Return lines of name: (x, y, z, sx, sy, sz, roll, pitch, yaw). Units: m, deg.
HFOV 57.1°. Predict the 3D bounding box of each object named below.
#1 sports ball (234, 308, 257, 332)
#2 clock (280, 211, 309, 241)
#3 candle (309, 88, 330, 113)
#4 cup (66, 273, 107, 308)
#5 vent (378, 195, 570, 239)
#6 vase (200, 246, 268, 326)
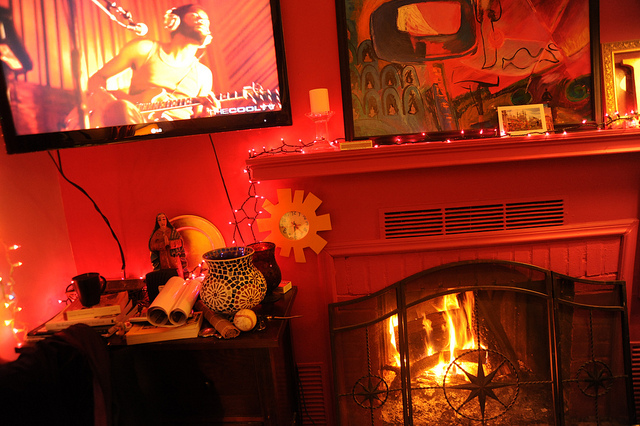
sports ball: (-0.333, 0.476, 2.617, 0.095, 0.092, 0.092, -1, 4, 0)
clock: (-0.123, 0.056, 2.987, 0.151, 0.147, 0.017, 1, 7, 8)
candle: (-0.002, -0.537, 2.813, 0.107, 0.108, 0.100, -2, 5, -3)
cup: (-1.137, 0.351, 2.838, 0.123, 0.138, 0.191, 7, 20, 17)
vent: (0.773, 0.019, 2.933, 0.933, 0.178, 0.072, -1, -20, 4)
vase: (-0.396, 0.299, 2.735, 0.322, 0.348, 0.317, -6, 8, -5)
